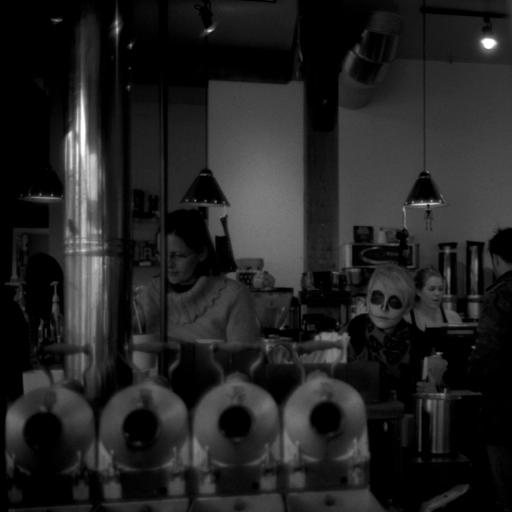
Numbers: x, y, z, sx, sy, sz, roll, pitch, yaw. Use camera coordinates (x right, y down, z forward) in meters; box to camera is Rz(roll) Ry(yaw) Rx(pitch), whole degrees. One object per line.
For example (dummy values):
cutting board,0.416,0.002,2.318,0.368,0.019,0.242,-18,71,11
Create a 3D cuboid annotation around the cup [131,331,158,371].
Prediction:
cup,-0.204,0.176,1.231,0.051,0.061,0.048,2,-2,0
